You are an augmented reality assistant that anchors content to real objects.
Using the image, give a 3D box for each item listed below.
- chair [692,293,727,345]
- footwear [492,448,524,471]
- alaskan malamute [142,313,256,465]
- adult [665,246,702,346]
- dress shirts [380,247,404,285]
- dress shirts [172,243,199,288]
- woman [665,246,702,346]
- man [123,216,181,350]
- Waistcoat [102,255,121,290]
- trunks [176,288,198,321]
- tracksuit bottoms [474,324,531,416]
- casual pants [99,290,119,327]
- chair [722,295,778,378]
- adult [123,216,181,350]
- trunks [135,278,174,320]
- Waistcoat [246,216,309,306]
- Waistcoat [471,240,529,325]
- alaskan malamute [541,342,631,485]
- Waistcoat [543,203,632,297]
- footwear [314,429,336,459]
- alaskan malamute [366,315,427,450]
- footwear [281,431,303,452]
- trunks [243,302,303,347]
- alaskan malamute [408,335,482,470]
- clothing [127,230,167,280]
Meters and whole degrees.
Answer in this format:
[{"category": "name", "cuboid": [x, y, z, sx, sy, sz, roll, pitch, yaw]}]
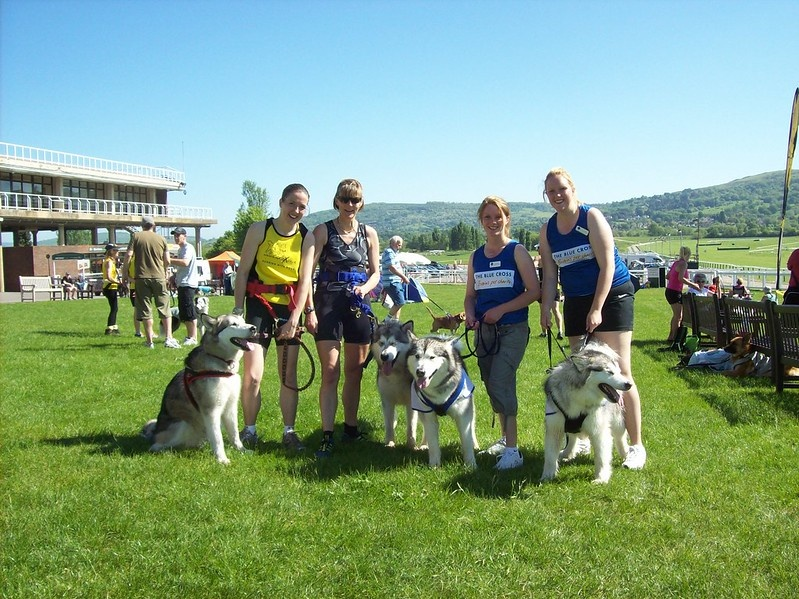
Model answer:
[{"category": "chair", "cuboid": [6.634, 0.390, 13.402, 0.342, 0.651, 0.963, -2, 9, 0]}, {"category": "footwear", "cuboid": [1.223, 1.756, 7.005, 0.307, 0.186, 0.333, 2, 8, 10]}, {"category": "alaskan malamute", "cuboid": [-2.311, 0.964, 7.309, 1.281, 1.608, 0.533, 3, 7, 18]}, {"category": "adult", "cuboid": [6.885, -0.134, 15.332, 0.609, 2.334, 0.687, 2, 5, -3]}, {"category": "dress shirts", "cuboid": [-0.206, -0.871, 16.111, 0.612, 1.305, 1.060, -1, 6, 2]}, {"category": "dress shirts", "cuboid": [-4.636, -0.751, 13.543, 0.431, 0.931, 0.710, -4, 5, -32]}, {"category": "woman", "cuboid": [6.874, -0.127, 15.279, 0.633, 2.320, 0.635, 3, 5, 11]}, {"category": "man", "cuboid": [-5.338, -0.342, 13.611, 0.967, 2.999, 0.853, -1, -11, -24]}, {"category": "Waistcoat", "cuboid": [-7.345, -0.653, 15.827, 0.342, 0.805, 0.773, -3, 8, -26]}, {"category": "trunks", "cuboid": [-4.631, 0.090, 13.591, 0.399, 0.843, 0.612, 2, 4, -16]}, {"category": "tracksuit bottoms", "cuboid": [1.151, 0.774, 7.201, 0.603, 1.035, 0.533, 2, 7, 10]}, {"category": "casual pants", "cuboid": [-7.233, 0.220, 15.651, 0.257, 0.943, 0.600, -3, 8, -30]}, {"category": "chair", "cuboid": [6.287, 0.692, 11.215, 0.397, 0.803, 1.143, -2, 9, -1]}, {"category": "adult", "cuboid": [-5.355, -0.336, 13.589, 0.955, 2.946, 0.759, 0, -10, -32]}, {"category": "trunks", "cuboid": [-5.318, -0.078, 13.496, 0.726, 1.154, 0.429, 8, 21, -6]}, {"category": "Waistcoat", "cuboid": [-1.468, -0.386, 7.640, 0.692, 1.262, 0.708, 3, -8, 35]}, {"category": "Waistcoat", "cuboid": [1.145, -0.177, 7.456, 0.666, 1.138, 0.551, -2, -5, 16]}, {"category": "alaskan malamute", "cuboid": [2.034, 1.155, 6.885, 0.884, 1.439, 0.850, 2, 7, 14]}, {"category": "Waistcoat", "cuboid": [2.103, -0.480, 7.285, 0.809, 1.231, 0.620, -18, -20, 38]}, {"category": "footwear", "cuboid": [-0.897, 1.688, 7.415, 0.225, 0.221, 0.519, 0, 8, -5]}, {"category": "alaskan malamute", "cuboid": [0.087, 1.168, 8.282, 0.456, 1.525, 2.384, -1, -9, 16]}, {"category": "footwear", "cuboid": [-1.332, 1.712, 7.667, 0.124, 0.173, 0.377, -4, 6, -30]}, {"category": "trunks", "cuboid": [-1.615, 0.239, 7.485, 0.414, 0.703, 0.248, -2, 10, -3]}, {"category": "alaskan malamute", "cuboid": [0.557, 1.126, 7.512, 0.590, 1.584, 1.829, -6, -3, 16]}, {"category": "clothing", "cuboid": [-5.392, -0.917, 13.397, 0.783, 1.119, 0.562, 3, -15, -35]}]
